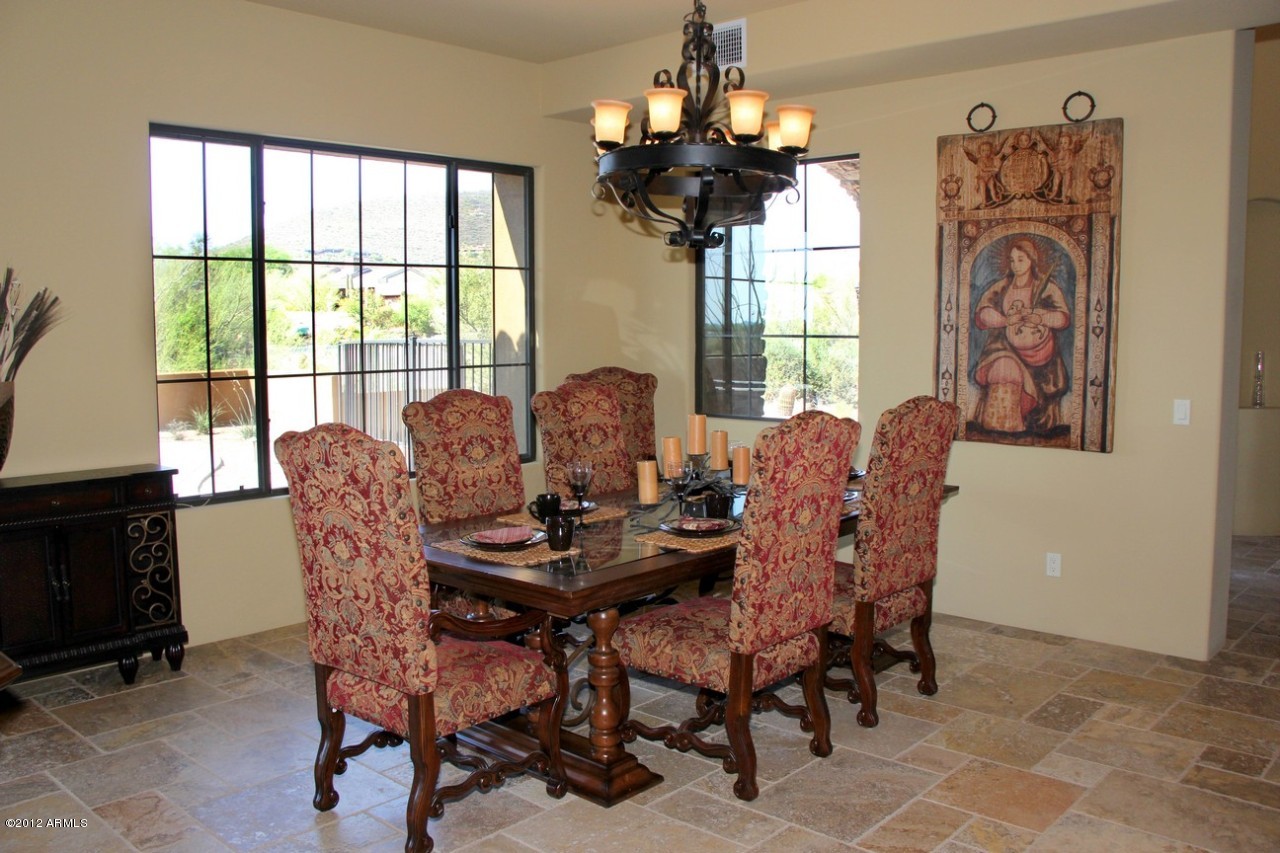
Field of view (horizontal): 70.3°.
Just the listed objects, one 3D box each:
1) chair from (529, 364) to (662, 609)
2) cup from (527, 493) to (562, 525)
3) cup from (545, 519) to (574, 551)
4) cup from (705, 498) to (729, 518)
[{"bbox_3d":[-0.192,0.128,5.717,0.874,1.390,0.835,-3,7,-32],"label":"chair"},{"bbox_3d":[-0.437,0.362,4.083,0.150,0.122,0.141,-3,5,0],"label":"cup"},{"bbox_3d":[-0.342,0.474,3.960,0.129,0.142,0.128,0,0,0],"label":"cup"},{"bbox_3d":[0.364,0.393,4.363,0.091,0.067,0.092,2,0,0],"label":"cup"}]
